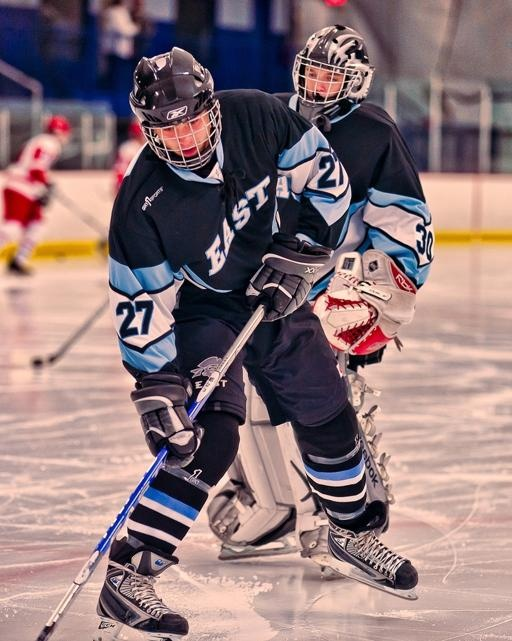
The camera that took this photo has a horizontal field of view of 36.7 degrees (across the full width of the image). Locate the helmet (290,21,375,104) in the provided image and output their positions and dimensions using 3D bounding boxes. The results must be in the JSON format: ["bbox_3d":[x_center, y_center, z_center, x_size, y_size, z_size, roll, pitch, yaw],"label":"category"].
[{"bbox_3d":[0.190,-0.634,1.889,0.207,0.168,0.235,20,27,27],"label":"helmet"}]

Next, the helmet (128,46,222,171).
[{"bbox_3d":[-0.144,-0.374,1.344,0.156,0.221,0.124,-1,10,-1],"label":"helmet"}]

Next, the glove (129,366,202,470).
[{"bbox_3d":[-0.146,0.163,1.271,0.130,0.154,0.074,-16,-17,7],"label":"glove"}]

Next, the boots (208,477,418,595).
[{"bbox_3d":[0.153,0.495,1.714,0.344,0.105,0.249,10,15,39],"label":"boots"}]

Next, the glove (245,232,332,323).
[{"bbox_3d":[0.058,-0.085,1.515,0.143,0.185,0.078,34,5,-5],"label":"glove"}]
